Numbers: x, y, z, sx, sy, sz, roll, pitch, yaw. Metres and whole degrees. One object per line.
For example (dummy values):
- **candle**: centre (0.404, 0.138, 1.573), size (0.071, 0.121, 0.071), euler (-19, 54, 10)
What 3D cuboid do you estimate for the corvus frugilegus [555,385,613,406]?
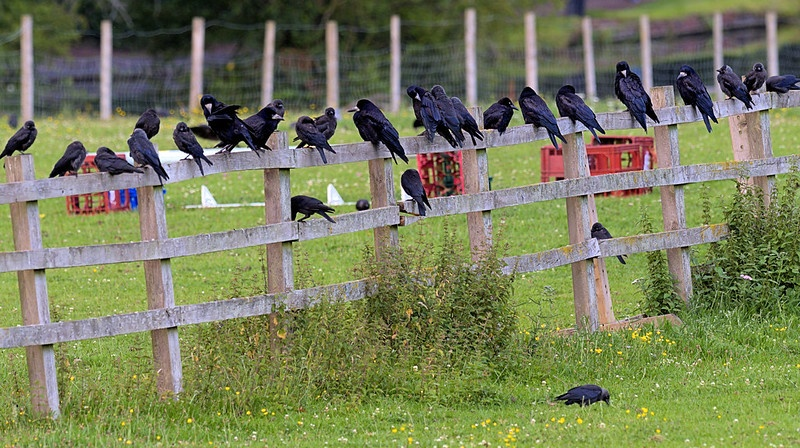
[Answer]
- **corvus frugilegus**: centre (3.674, 3.437, 29.308), size (1.071, 0.617, 0.437), euler (4, -10, 0)
